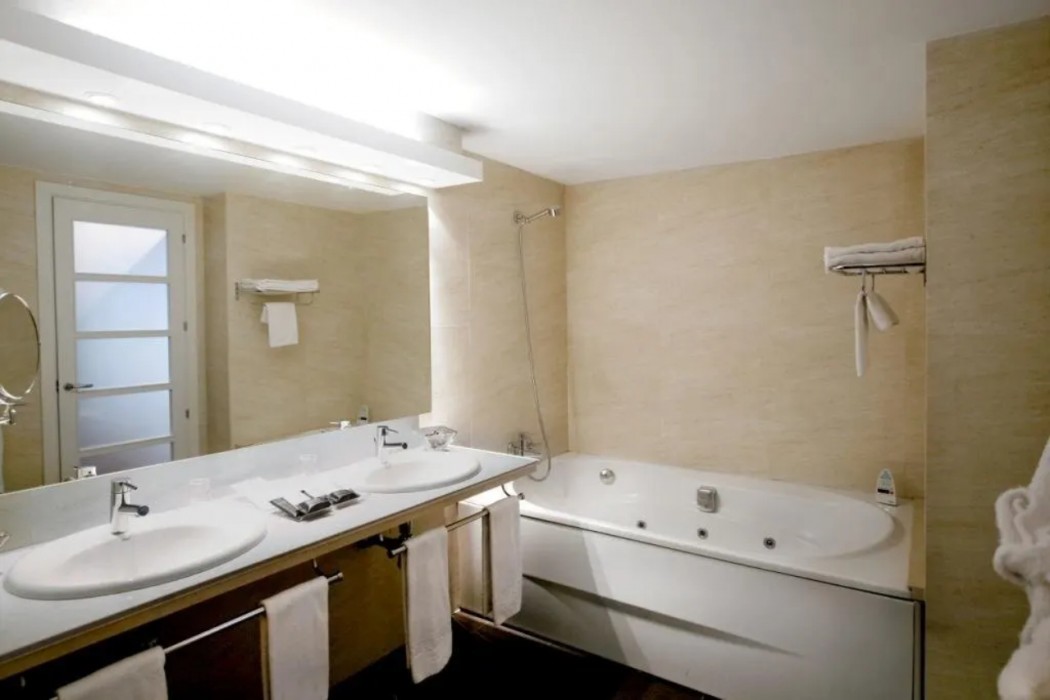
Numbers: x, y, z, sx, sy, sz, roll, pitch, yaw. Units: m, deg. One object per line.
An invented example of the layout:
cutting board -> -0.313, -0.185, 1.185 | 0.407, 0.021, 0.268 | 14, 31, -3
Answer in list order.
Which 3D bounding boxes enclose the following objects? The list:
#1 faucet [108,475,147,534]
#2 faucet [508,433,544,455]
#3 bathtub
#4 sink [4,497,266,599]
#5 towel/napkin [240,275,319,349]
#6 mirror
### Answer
faucet -> -1.552, 0.634, 2.927 | 0.238, 0.218, 0.079 | 8, 7, 37
faucet -> 0.013, 0.618, 4.819 | 0.197, 0.132, 0.140 | 5, 5, 40
bathtub -> 1.099, 0.980, 4.516 | 1.593, 0.292, 0.754 | -3, 2, 33
sink -> -1.468, 0.792, 2.859 | 0.894, 0.179, 0.495 | -9, 14, -33
towel/napkin -> -1.174, -0.191, 3.566 | 0.074, 0.338, 0.414 | 8, 15, 36
mirror -> -1.414, -0.278, 3.293 | 0.110, 1.354, 2.038 | 6, 6, 41
